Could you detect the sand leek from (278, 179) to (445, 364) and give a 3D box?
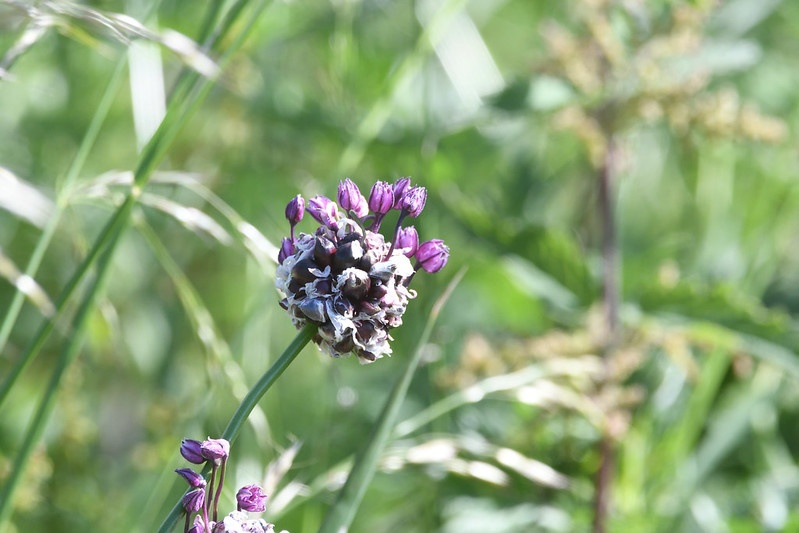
[{"bbox_3d":[-0.054,0.017,1.368,0.192,0.239,0.192,28,-11,8],"label":"sand leek"}]
